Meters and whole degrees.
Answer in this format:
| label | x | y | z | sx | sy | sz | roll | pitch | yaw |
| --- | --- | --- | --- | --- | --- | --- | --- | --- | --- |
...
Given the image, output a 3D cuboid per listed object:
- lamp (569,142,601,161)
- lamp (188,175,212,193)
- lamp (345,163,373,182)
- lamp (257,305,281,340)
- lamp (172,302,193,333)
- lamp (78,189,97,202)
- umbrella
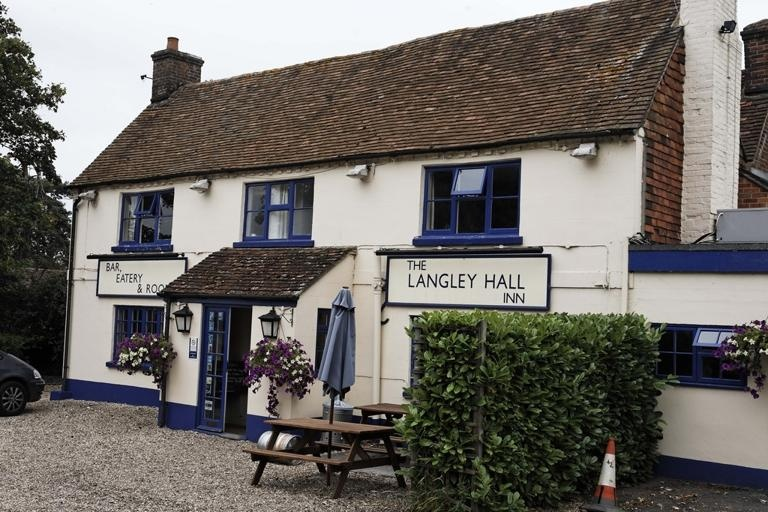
| label | x | y | z | sx | sy | sz | roll | pitch | yaw |
| --- | --- | --- | --- | --- | --- | --- | --- | --- | --- |
| lamp | 4.537 | -2.341 | 21.737 | 0.370 | 0.342 | 0.509 | 13 | -12 | -42 |
| lamp | -5.059 | -1.948 | 26.448 | 0.539 | 0.373 | 0.431 | -2 | -8 | 36 |
| lamp | -0.590 | -2.083 | 24.065 | 0.474 | 0.298 | 0.482 | -4 | -9 | 41 |
| lamp | -2.725 | 1.659 | 23.076 | 0.631 | 0.802 | 0.694 | -1 | -3 | 20 |
| lamp | -5.160 | 1.595 | 24.649 | 0.506 | 0.769 | 0.316 | -2 | -8 | 37 |
| lamp | -8.808 | -1.775 | 28.691 | 0.526 | 0.344 | 0.319 | -2 | -8 | 32 |
| umbrella | -1.048 | 2.758 | 20.351 | 0.756 | 4.141 | 0.869 | 4 | -7 | -9 |
